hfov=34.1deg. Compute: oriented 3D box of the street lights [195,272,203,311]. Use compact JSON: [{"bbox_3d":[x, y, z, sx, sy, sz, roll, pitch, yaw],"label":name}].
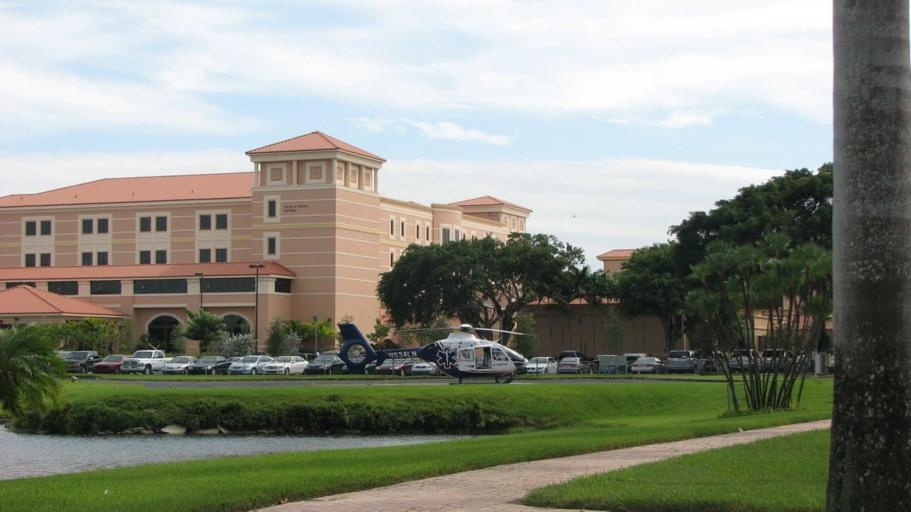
[{"bbox_3d":[-25.792,3.364,151.967,0.775,3.520,0.905,-1,-9,4],"label":"street lights"}]
